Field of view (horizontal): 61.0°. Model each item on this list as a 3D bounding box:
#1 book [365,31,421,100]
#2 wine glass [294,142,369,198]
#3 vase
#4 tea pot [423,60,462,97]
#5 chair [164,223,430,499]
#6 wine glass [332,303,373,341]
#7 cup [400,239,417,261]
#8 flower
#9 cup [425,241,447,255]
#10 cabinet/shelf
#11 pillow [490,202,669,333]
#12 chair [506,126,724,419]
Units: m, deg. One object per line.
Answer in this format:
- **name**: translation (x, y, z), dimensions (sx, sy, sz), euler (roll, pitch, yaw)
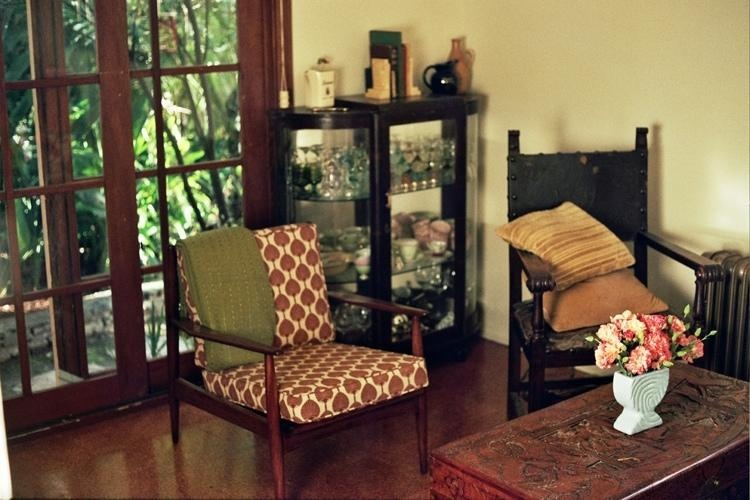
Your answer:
- **book**: translation (0.088, -1.117, 3.845), dimensions (0.301, 0.499, 0.424), euler (-12, 18, -30)
- **wine glass**: translation (-0.247, -0.433, 3.583), dimensions (0.340, 0.204, 0.338), euler (1, 7, 11)
- **vase**: translation (1.040, 0.594, 2.504), dimensions (0.253, 0.254, 0.133), euler (-8, 9, -37)
- **tea pot**: translation (0.405, -1.081, 3.998), dimensions (0.193, 0.205, 0.209), euler (-2, 15, 1)
- **chair**: translation (-0.304, 0.304, 3.356), dimensions (1.185, 1.324, 1.292), euler (-9, 12, -40)
- **wine glass**: translation (-0.138, 0.408, 3.701), dimensions (0.271, 0.252, 0.143), euler (1, 8, -4)
- **cup**: translation (0.198, -0.002, 3.849), dimensions (0.122, 0.126, 0.119), euler (-1, 10, 0)
- **flower**: translation (1.064, 0.397, 2.547), dimensions (0.372, 0.259, 0.467), euler (-8, 4, 3)
- **cup**: translation (0.376, -0.016, 3.870), dimensions (0.105, 0.058, 0.092), euler (-5, 8, -37)
- **cabinet/shelf**: translation (-0.026, -0.160, 3.604), dimensions (1.460, 1.609, 0.664), euler (-10, 14, -39)
- **pillow**: translation (1.066, 0.071, 3.312), dimensions (0.674, 0.543, 0.561), euler (-8, 16, -19)
- **chair**: translation (1.144, 0.244, 3.378), dimensions (0.969, 1.512, 0.834), euler (-6, 18, -8)
